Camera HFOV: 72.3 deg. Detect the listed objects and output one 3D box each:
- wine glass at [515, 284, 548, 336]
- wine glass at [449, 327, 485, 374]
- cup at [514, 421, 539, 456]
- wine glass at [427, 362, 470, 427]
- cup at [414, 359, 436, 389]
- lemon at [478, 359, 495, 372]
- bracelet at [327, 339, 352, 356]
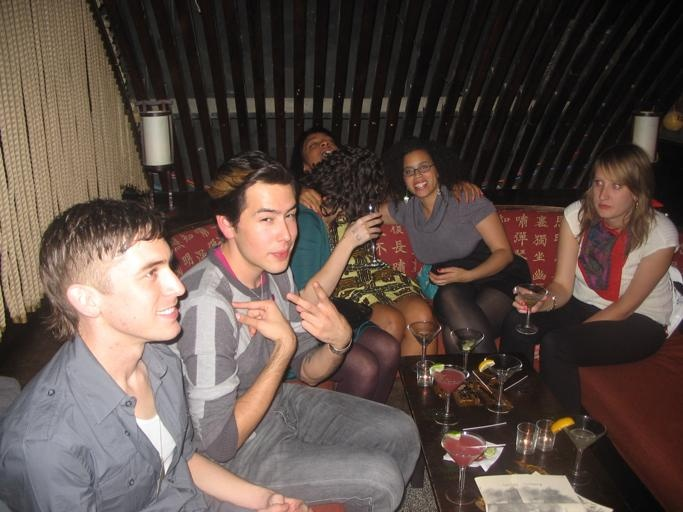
[{"bbox_3d":[1.235,0.334,3.057,0.179,0.326,0.328,3,25,5],"label":"wine glass"},{"bbox_3d":[0.673,0.502,2.592,0.233,0.274,0.240,1,7,4],"label":"wine glass"},{"bbox_3d":[0.839,0.838,2.099,0.119,0.136,0.127,1,3,0],"label":"cup"},{"bbox_3d":[0.497,0.686,2.393,0.247,0.319,0.268,4,16,6],"label":"wine glass"},{"bbox_3d":[0.454,0.670,2.613,0.120,0.136,0.138,0,2,2],"label":"cup"},{"bbox_3d":[0.813,0.616,2.605,0.037,0.063,0.123,-1,-24,-34],"label":"lemon"},{"bbox_3d":[-0.003,0.459,2.309,0.094,0.040,0.088,4,7,27],"label":"bracelet"}]
